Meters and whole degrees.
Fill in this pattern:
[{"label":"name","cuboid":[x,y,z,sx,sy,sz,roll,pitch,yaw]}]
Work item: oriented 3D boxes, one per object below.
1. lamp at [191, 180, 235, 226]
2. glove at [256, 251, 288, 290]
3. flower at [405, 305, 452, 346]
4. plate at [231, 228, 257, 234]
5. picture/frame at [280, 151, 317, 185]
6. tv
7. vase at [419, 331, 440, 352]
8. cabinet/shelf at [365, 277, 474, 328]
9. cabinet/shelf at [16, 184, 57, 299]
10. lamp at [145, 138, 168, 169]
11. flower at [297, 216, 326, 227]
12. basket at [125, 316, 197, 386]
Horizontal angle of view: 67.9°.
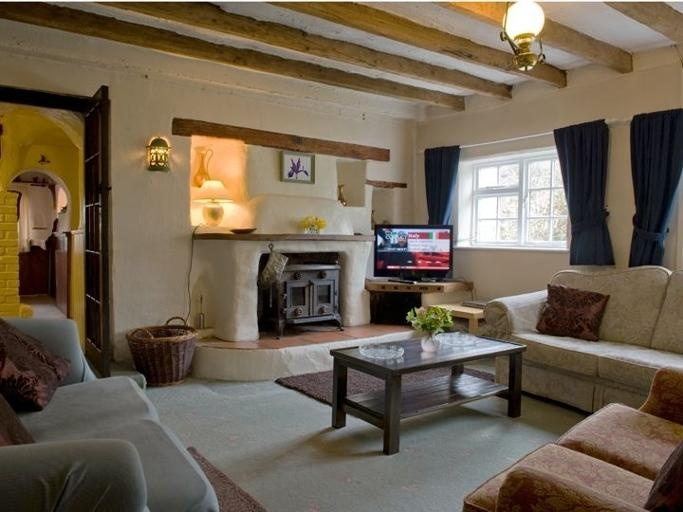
[{"label":"lamp","cuboid":[-1.315,-0.533,5.169,0.442,0.454,0.445,1,0,40]},{"label":"glove","cuboid":[-0.679,0.150,4.990,0.264,0.340,0.200,26,-4,-42]},{"label":"flower","cuboid":[0.666,0.548,3.856,0.210,0.163,0.238,-9,-4,-23]},{"label":"plate","cuboid":[-1.008,-0.263,5.131,0.261,0.052,0.190,1,8,-5]},{"label":"picture/frame","cuboid":[-0.512,-0.991,5.702,0.433,0.313,0.030,1,-2,-38]},{"label":"tv","cuboid":[0.884,-0.039,6.075,0.687,0.482,0.183,1,-2,9]},{"label":"vase","cuboid":[0.657,0.658,3.815,0.132,0.138,0.132,9,-13,-44]},{"label":"cabinet/shelf","cuboid":[0.694,0.474,6.249,0.982,0.443,0.613,2,13,-11]},{"label":"cabinet/shelf","cuboid":[-5.707,-0.321,9.532,0.678,2.059,1.000,-4,11,-29]},{"label":"lamp","cuboid":[-1.750,-0.972,4.861,0.203,0.256,0.205,4,7,-9]},{"label":"flower","cuboid":[-0.322,-0.360,5.500,0.168,0.095,0.167,3,-9,-18]},{"label":"basket","cuboid":[-1.605,0.849,4.596,0.563,0.507,0.592,-1,6,-21]}]
